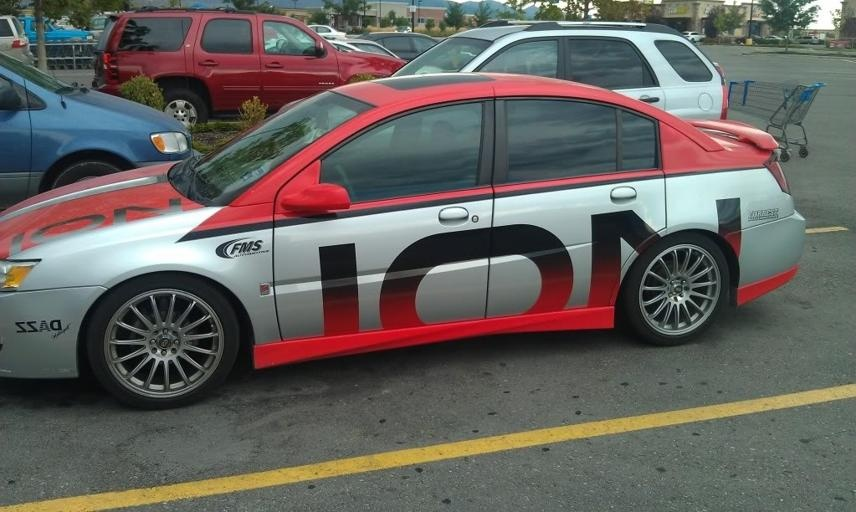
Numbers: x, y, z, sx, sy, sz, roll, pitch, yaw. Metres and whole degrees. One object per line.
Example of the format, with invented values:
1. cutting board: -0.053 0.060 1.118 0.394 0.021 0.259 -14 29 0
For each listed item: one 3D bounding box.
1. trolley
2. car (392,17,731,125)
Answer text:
1. trolley: 7.127 -2.677 13.019 0.864 1.080 1.618 -9 22 -39
2. car: 1.804 -2.614 9.509 4.329 1.358 1.831 1 11 -5
